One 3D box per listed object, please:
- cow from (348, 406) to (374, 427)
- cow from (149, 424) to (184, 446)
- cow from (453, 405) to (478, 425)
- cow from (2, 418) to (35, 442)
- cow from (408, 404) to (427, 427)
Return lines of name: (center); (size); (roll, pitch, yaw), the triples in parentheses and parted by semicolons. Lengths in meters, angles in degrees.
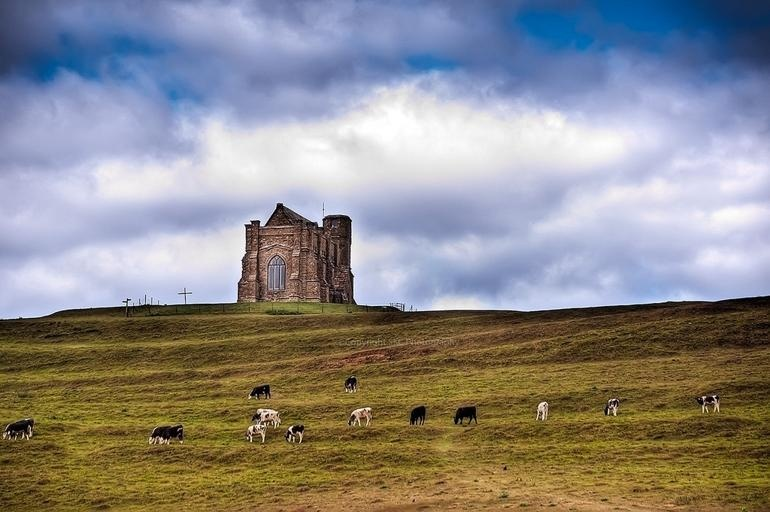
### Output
cow: (-1.883, 11.451, 72.546); (1.640, 1.150, 2.760); (-3, 13, 4)
cow: (-15.472, 12.557, 71.272); (2.334, 1.049, 1.301); (-4, 13, 0)
cow: (5.676, 11.200, 72.307); (1.684, 1.156, 2.554); (-3, 13, 4)
cow: (-26.189, 12.337, 72.142); (2.014, 1.102, 1.542); (-8, 14, -16)
cow: (2.191, 11.347, 72.138); (1.169, 1.147, 1.553); (-4, 13, 1)
